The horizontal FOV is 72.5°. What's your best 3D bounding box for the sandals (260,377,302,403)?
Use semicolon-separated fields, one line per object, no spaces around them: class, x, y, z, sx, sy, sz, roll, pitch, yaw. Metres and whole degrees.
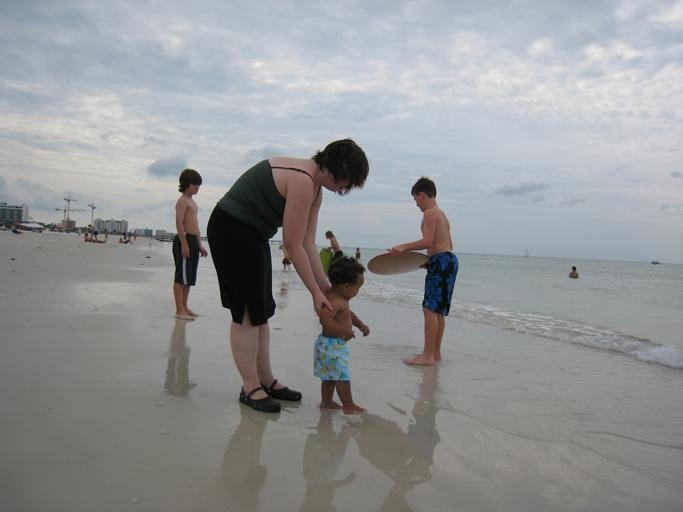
sandals;-0.473;1.128;3.887;0.389;0.164;0.137;6;0;14

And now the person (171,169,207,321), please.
person;-2.128;-0.151;6.543;0.445;2.092;0.871;2;7;-19

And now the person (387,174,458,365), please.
person;1.021;0.131;5.412;0.596;2.086;0.928;6;7;15

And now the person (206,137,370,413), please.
person;-0.489;0.139;3.591;1.049;2.119;0.548;2;7;-21

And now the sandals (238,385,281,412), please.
sandals;-0.620;1.075;3.571;0.280;0.125;0.159;4;0;30
